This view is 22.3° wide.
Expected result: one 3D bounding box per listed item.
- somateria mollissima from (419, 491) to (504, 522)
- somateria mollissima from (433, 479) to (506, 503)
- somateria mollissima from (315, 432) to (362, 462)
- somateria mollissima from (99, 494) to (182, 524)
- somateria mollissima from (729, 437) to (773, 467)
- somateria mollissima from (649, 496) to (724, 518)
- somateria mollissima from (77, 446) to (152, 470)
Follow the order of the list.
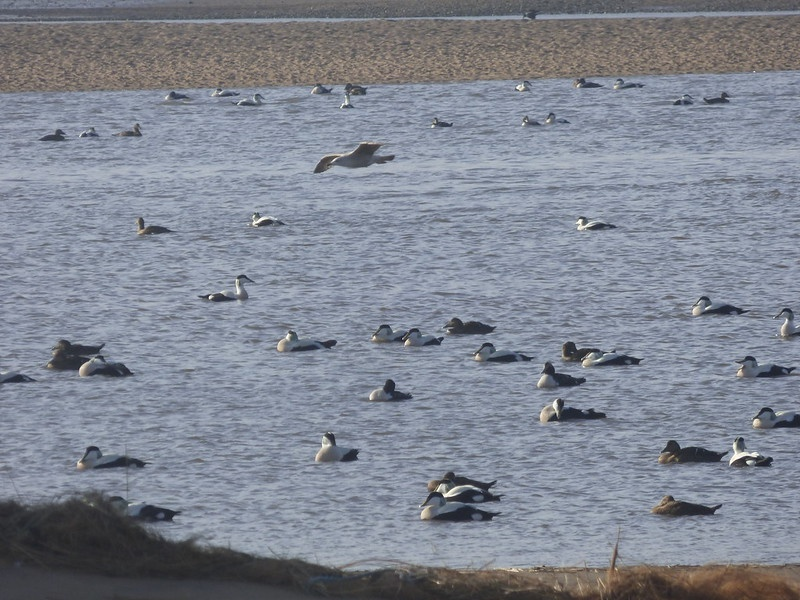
[{"bbox_3d":[1.765,5.850,56.965,2.642,0.751,0.783,1,84,3],"label":"somateria mollissima"},{"bbox_3d":[1.814,5.421,57.136,2.175,0.593,0.647,2,84,4],"label":"somateria mollissima"},{"bbox_3d":[-1.916,4.312,59.026,1.333,0.812,0.722,2,88,7],"label":"somateria mollissima"},{"bbox_3d":[-7.180,5.836,56.259,2.289,0.648,0.556,8,91,3],"label":"somateria mollissima"},{"bbox_3d":[10.099,4.472,58.238,1.204,0.584,0.917,11,64,6],"label":"somateria mollissima"},{"bbox_3d":[7.845,5.768,56.471,2.262,0.628,0.686,-2,85,0],"label":"somateria mollissima"},{"bbox_3d":[-8.460,4.541,58.667,1.739,0.795,0.519,2,86,3],"label":"somateria mollissima"}]
